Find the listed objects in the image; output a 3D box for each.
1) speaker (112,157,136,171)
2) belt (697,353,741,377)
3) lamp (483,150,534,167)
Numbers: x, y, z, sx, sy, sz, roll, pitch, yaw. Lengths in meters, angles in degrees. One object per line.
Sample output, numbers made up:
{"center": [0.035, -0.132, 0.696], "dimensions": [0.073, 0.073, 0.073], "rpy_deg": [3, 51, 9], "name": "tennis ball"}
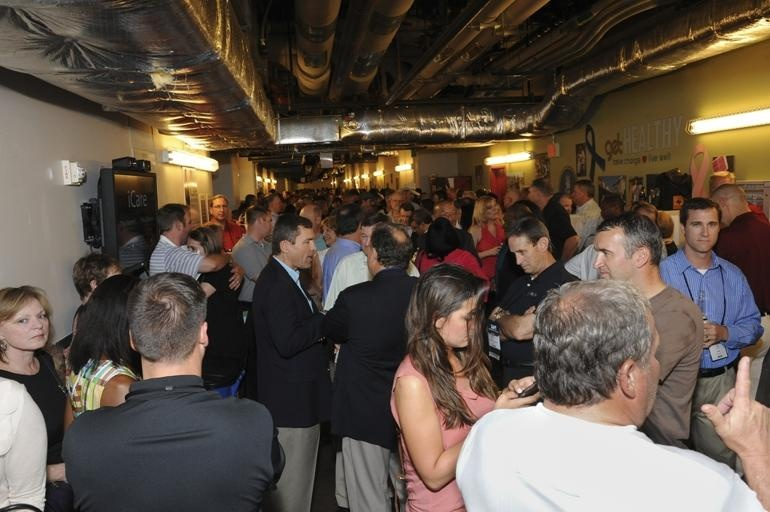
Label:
{"center": [-2.797, -0.957, 5.487], "dimensions": [0.176, 0.122, 0.181], "rpy_deg": [2, 3, 33], "name": "speaker"}
{"center": [2.322, 0.798, 3.720], "dimensions": [0.186, 0.048, 0.194], "rpy_deg": [-13, 8, 1], "name": "belt"}
{"center": [3.248, -2.590, 13.928], "dimensions": [0.267, 0.306, 1.943], "rpy_deg": [34, -15, -30], "name": "lamp"}
